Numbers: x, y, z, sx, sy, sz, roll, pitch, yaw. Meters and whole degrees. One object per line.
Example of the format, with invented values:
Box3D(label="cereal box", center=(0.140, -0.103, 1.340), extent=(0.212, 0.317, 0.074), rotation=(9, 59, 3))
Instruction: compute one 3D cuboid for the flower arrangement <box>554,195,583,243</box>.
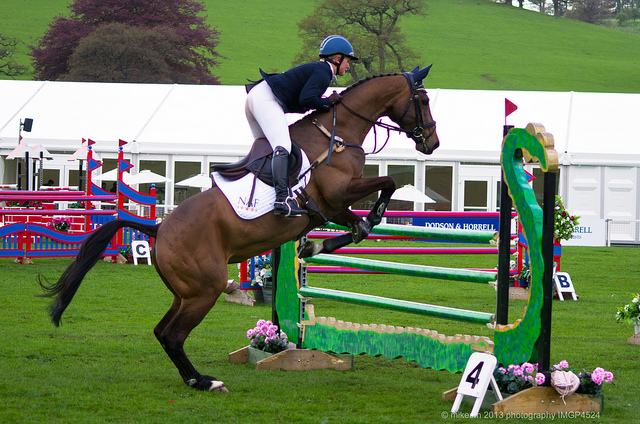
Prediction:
Box3D(label="flower arrangement", center=(6.918, 0.251, 31.796), extent=(0.643, 1.259, 0.864), rotation=(3, 4, 12))

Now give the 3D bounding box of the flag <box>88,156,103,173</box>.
Box3D(label="flag", center=(-7.625, -1.569, 38.489), extent=(0.090, 0.489, 0.575), rotation=(6, -12, 45))

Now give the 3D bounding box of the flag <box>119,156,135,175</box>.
Box3D(label="flag", center=(-6.397, -1.480, 37.562), extent=(0.751, 0.700, 0.256), rotation=(-3, 4, -33))

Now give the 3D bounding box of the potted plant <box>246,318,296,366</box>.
Box3D(label="potted plant", center=(-1.294, 3.248, 28.143), extent=(0.996, 1.128, 1.139), rotation=(-2, 5, -35))

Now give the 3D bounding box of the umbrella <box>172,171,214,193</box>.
Box3D(label="umbrella", center=(-4.366, -0.996, 39.834), extent=(1.546, 0.724, 1.490), rotation=(0, 3, 0))
